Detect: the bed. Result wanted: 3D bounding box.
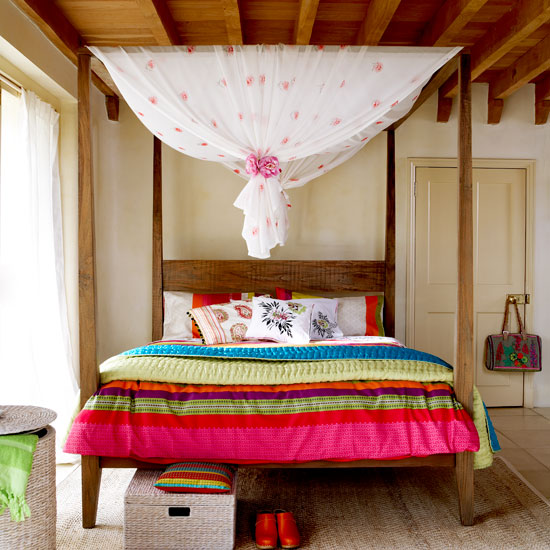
[{"bbox_3d":[0.049,0.001,3.181,2.012,2.277,1.778,0,3,0],"label":"bed"}]

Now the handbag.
[{"bbox_3d":[1.919,0.463,4.180,0.407,0.595,0.206,1,3,10],"label":"handbag"}]
